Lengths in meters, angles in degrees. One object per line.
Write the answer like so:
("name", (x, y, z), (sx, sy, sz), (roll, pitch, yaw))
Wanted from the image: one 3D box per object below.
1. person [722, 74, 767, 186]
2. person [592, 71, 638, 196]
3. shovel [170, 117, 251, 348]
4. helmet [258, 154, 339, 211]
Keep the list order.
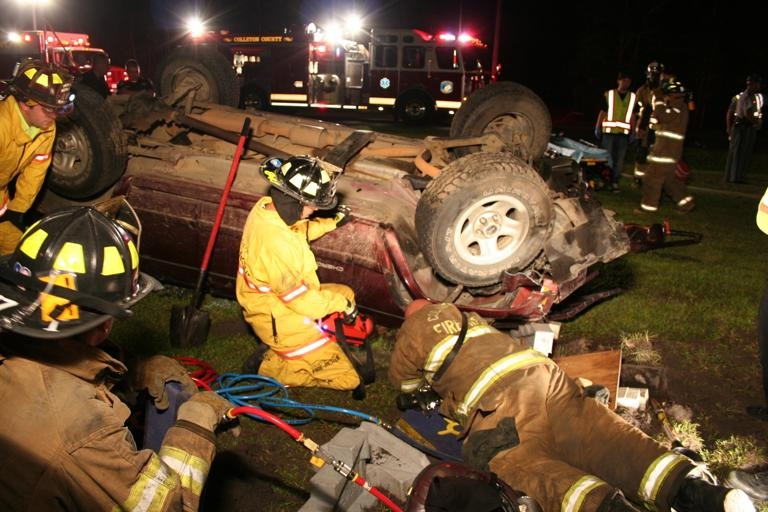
("person", (8.272, -2.929, 12.547), (0.696, 2.488, 1.438), (13, 11, 29))
("person", (4.967, -2.601, 11.593), (0.924, 2.503, 0.640), (0, -1, -4))
("shovel", (-1.964, -0.232, 6.396), (0.566, 3.080, 0.152), (-4, -26, 27))
("helmet", (-0.823, -0.735, 5.223), (0.592, 0.249, 0.540), (40, 31, 9))
